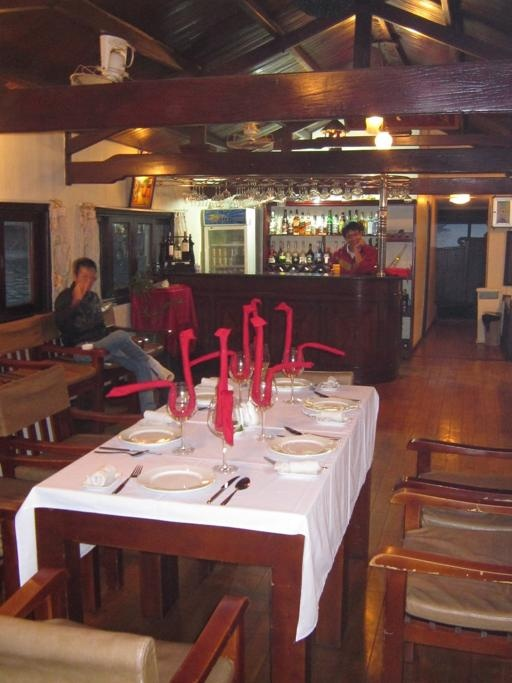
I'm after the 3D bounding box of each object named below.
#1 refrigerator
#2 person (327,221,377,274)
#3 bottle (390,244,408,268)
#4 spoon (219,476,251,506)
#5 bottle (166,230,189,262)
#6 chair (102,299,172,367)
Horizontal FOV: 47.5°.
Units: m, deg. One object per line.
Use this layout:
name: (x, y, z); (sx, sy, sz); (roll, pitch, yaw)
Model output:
refrigerator: (-0.486, -1.777, 10.187); (0.934, 1.090, 0.318); (-1, 6, -5)
person: (1.248, -1.105, 7.398); (0.614, 0.799, 0.430); (11, 15, 43)
bottle: (2.166, -1.319, 8.854); (0.249, 0.366, 0.597); (1, 5, 14)
spoon: (-0.055, 0.400, 1.574); (0.025, 0.014, 0.126); (7, 14, 13)
bottle: (-1.081, -1.321, 8.217); (0.333, 0.422, 0.667); (-1, 5, -7)
chair: (-1.283, -0.011, 6.098); (0.586, 0.694, 0.496); (10, 18, 44)
